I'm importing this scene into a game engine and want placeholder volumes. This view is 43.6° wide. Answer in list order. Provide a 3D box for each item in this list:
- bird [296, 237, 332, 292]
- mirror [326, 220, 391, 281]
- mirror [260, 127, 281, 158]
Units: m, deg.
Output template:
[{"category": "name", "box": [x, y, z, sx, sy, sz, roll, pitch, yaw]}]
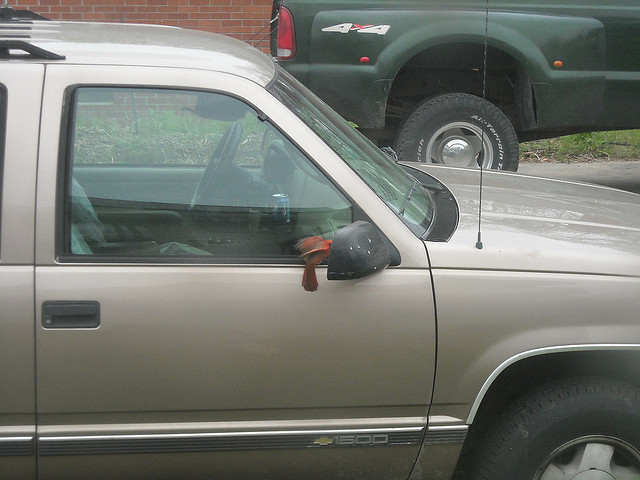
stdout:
[{"category": "bird", "box": [-0.007, 0.086, 3.166, 0.134, 0.216, 0.216, -4, 14, -8]}, {"category": "mirror", "box": [0.176, 0.032, 3.156, 0.226, 0.207, 0.293, -7, 6, 17]}, {"category": "mirror", "box": [-0.204, -0.420, 3.322, 0.024, 0.076, 0.080, 6, -35, -25]}]
